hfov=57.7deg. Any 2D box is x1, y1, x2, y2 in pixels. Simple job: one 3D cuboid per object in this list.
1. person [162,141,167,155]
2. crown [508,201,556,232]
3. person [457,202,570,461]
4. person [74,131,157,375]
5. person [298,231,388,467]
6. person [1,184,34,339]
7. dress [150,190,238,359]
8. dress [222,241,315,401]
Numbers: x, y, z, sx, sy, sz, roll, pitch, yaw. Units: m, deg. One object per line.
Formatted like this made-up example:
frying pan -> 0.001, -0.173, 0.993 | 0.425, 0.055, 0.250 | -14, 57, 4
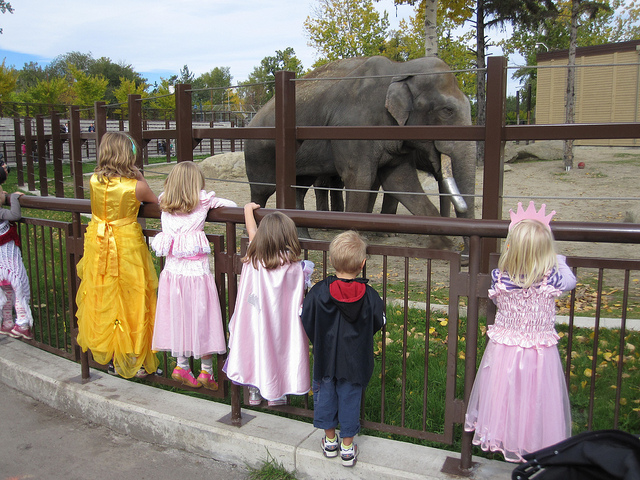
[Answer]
person -> -11.198, -6.537, 41.687 | 0.194, 0.862, 1.576 | -1, 6, -18
crown -> 1.226, -0.147, 3.391 | 0.236, 0.169, 0.352 | 3, 6, 19
person -> 1.124, 0.558, 3.326 | 0.543, 1.353, 0.255 | 2, 5, 15
person -> -1.540, 0.146, 4.526 | 0.925, 1.940, 0.376 | 4, 6, 30
person -> 0.138, 0.670, 3.592 | 0.514, 1.440, 0.197 | 1, 5, 1
person -> -2.870, 0.247, 5.464 | 0.283, 1.420, 0.676 | -2, 6, -28
dress -> -0.921, 0.249, 4.208 | 0.651, 1.220, 0.274 | 3, 5, 21
dress -> -0.331, 0.516, 3.780 | 0.781, 0.833, 1.273 | -1, 22, -10
